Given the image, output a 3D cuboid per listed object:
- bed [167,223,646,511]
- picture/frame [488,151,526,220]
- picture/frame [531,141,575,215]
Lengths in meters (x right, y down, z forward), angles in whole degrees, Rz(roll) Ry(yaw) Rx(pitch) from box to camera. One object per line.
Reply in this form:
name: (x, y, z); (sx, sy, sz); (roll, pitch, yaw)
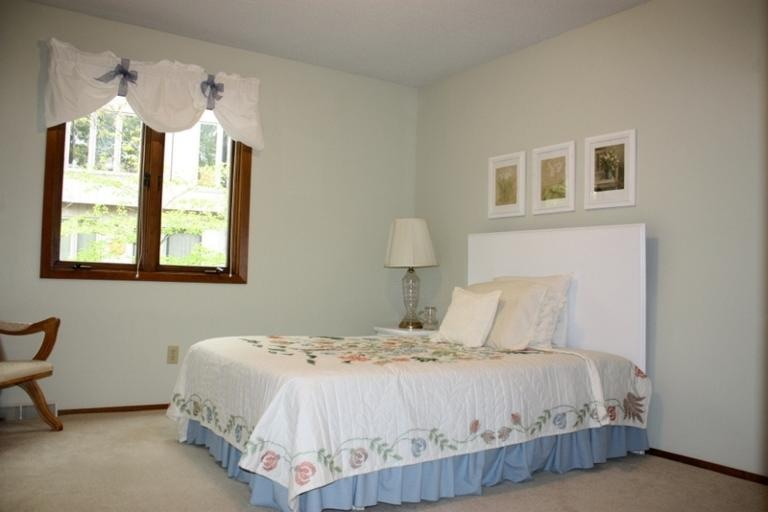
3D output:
bed: (0.406, 0.634, 4.199); (3.200, 1.813, 1.625); (-2, 6, -31)
picture/frame: (1.224, -0.694, 5.480); (0.078, 0.631, 0.459); (-4, 8, -43)
picture/frame: (1.583, -0.714, 5.124); (0.065, 0.649, 0.460); (-5, 8, -44)
